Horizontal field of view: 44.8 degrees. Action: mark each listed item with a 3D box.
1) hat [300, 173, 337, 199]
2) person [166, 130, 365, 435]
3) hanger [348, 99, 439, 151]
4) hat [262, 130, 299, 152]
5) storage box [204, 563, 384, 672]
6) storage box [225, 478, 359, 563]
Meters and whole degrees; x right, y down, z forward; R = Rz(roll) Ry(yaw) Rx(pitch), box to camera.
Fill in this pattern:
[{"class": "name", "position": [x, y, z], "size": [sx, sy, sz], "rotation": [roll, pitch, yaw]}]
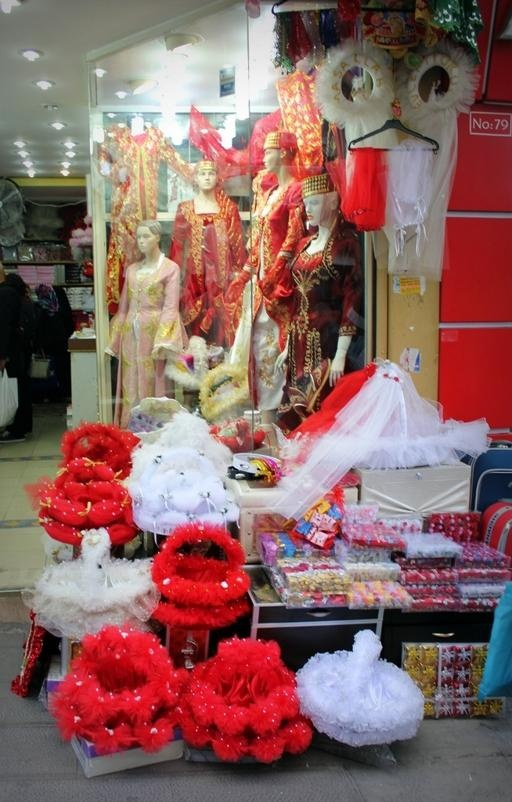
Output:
[{"class": "hat", "position": [0.204, -0.724, 2.090], "size": [0.089, 0.046, 0.068], "rotation": [-13, 14, -26]}, {"class": "person", "position": [0.082, -0.405, 2.216], "size": [0.579, 1.006, 0.229], "rotation": [1, 2, 5]}, {"class": "hanger", "position": [0.459, -0.904, 2.048], "size": [0.317, 0.183, 0.111], "rotation": [-1, 3, -26]}, {"class": "hat", "position": [0.082, -0.875, 2.091], "size": [0.106, 0.065, 0.028], "rotation": [0, 2, -1]}, {"class": "storage box", "position": [0.130, 0.500, 1.655], "size": [0.342, 0.243, 0.197], "rotation": [-1, 9, -7]}, {"class": "storage box", "position": [0.063, 0.289, 1.923], "size": [0.346, 0.226, 0.232], "rotation": [-3, -1, -16]}]
